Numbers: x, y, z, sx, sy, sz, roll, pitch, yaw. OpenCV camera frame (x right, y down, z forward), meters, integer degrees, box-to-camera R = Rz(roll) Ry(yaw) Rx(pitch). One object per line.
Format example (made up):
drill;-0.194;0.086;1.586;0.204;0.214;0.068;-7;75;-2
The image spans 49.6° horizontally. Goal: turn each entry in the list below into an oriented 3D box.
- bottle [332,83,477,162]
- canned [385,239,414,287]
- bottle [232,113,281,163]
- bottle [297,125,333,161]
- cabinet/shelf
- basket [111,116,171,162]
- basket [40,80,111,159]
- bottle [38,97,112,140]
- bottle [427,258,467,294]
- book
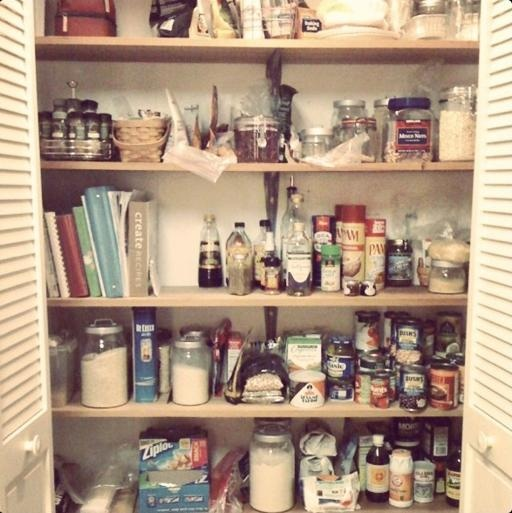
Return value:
bottle;0.526;-0.408;1.750;0.318;0.228;0.200;0;9;20
canned;0.491;0.021;1.900;0.105;0.159;0.099;-1;1;-5
bottle;0.015;-0.366;1.753;0.173;0.149;0.166;-4;13;-14
bottle;0.188;-0.355;1.755;0.111;0.097;0.112;6;7;44
cabinet/shelf;-0.013;0.039;1.752;1.728;1.412;0.474;0;0;-5
basket;-0.363;-0.347;1.747;0.194;0.132;0.205;0;0;7
basket;-0.574;-0.430;1.720;0.220;0.210;0.210;6;14;15
bottle;-0.543;-0.401;1.652;0.237;0.122;0.129;0;0;-9
bottle;0.631;0.061;1.813;0.123;0.106;0.122;6;15;39
book;-0.403;-0.050;1.763;0.199;0.344;0.316;3;10;34
